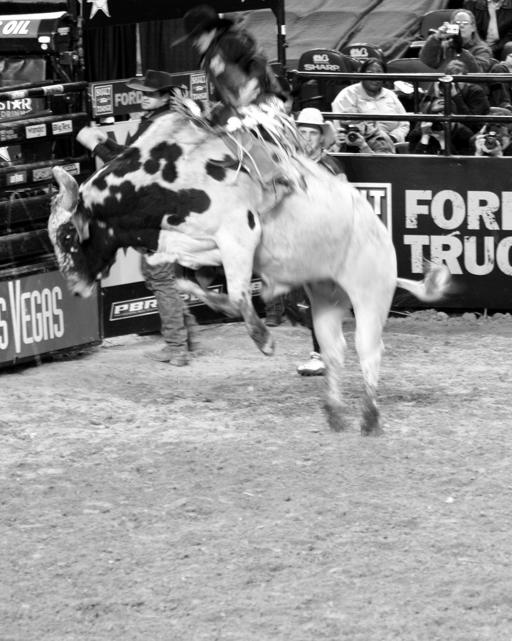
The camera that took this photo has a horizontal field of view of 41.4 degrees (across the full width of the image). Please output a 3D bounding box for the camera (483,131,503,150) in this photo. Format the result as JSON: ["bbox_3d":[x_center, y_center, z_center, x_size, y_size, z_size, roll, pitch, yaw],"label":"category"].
[{"bbox_3d":[2.157,-1.632,6.188,0.228,0.202,0.096,6,5,12],"label":"camera"}]

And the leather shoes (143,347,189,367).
[{"bbox_3d":[-0.661,0.281,5.318,0.393,0.158,0.122,11,1,13],"label":"leather shoes"}]

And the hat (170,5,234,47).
[{"bbox_3d":[-0.272,-1.462,3.292,0.284,0.201,0.205,8,15,38],"label":"hat"}]

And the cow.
[{"bbox_3d":[-0.154,-0.237,3.739,1.803,1.758,0.579,0,13,7],"label":"cow"}]

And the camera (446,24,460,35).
[{"bbox_3d":[2.129,-3.177,7.376,0.146,0.134,0.200,2,11,15],"label":"camera"}]
